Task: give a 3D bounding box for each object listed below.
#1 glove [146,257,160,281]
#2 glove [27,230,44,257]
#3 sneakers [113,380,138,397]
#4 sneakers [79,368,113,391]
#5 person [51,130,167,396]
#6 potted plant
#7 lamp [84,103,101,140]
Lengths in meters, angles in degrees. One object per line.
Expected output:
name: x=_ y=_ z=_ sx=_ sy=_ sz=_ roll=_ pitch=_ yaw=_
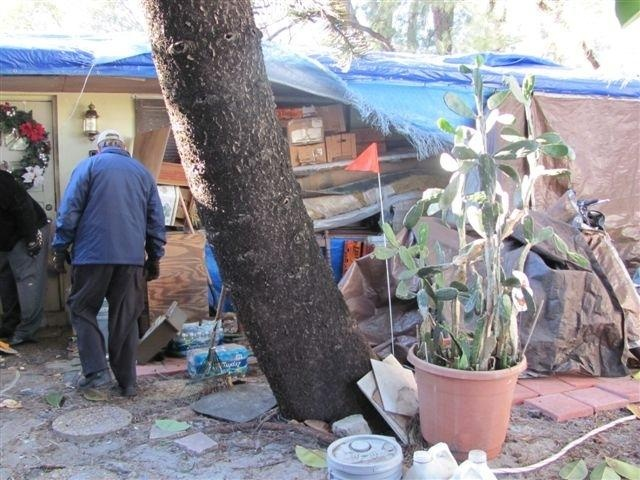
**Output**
glove: x=-1.677 y=0.277 z=5.022 sx=0.164 sy=0.218 sz=0.073 roll=3 pitch=18 yaw=10
glove: x=-3.477 y=0.035 z=6.065 sx=0.106 sy=0.270 sz=0.195 roll=13 pitch=-6 yaw=-11
sneakers: x=-1.744 y=1.330 z=4.483 sx=0.090 sy=0.097 sz=0.215 roll=-4 pitch=11 yaw=-41
sneakers: x=-2.043 y=1.249 z=4.489 sx=0.269 sy=0.221 sz=0.295 roll=-5 pitch=7 yaw=-22
person: x=-1.901 y=0.168 z=4.567 sx=0.937 sy=2.371 sz=0.787 roll=-7 pitch=9 yaw=-33
potted plant: x=1.281 y=-0.003 z=3.937 sx=1.212 sy=2.570 sz=2.735 roll=1 pitch=8 yaw=21
lamp: x=-3.202 y=-1.639 z=6.959 sx=0.250 sy=0.502 sz=0.238 roll=3 pitch=3 yaw=-12
